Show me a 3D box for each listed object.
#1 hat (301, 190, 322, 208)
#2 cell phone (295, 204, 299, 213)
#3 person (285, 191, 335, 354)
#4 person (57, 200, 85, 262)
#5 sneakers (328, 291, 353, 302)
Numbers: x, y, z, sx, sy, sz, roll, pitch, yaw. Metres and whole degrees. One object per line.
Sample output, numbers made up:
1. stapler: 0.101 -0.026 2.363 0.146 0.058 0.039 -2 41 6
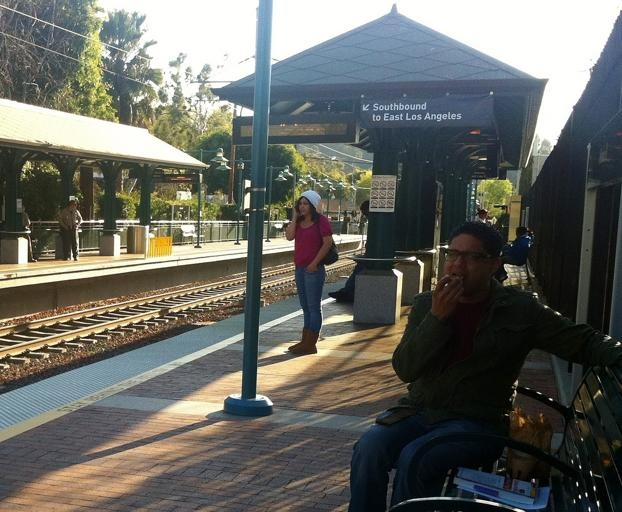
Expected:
1. hat: -0.014 -0.788 7.365 0.200 0.245 0.290 8 5 18
2. cell phone: -0.202 -0.651 7.291 0.024 0.084 0.059 1 4 23
3. person: -0.034 0.246 7.446 0.671 2.350 0.785 0 1 -4
4. person: -8.682 -1.003 18.925 0.645 2.262 1.141 0 2 -39
5. sneakers: 0.788 1.016 13.137 0.664 0.304 0.238 10 1 16
